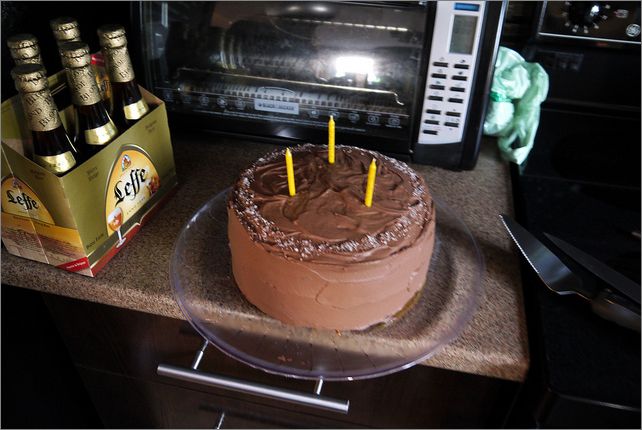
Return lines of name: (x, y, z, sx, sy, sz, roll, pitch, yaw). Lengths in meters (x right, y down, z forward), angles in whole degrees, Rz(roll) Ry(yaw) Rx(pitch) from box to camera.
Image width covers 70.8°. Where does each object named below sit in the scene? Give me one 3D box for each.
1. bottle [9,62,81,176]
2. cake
bottle: (-0.513, -0.184, 0.829, 0.078, 0.185, 0.150, -17, 37, -27)
cake: (0.058, 0.022, 0.944, 0.412, 0.293, 0.418, 15, 41, 16)
